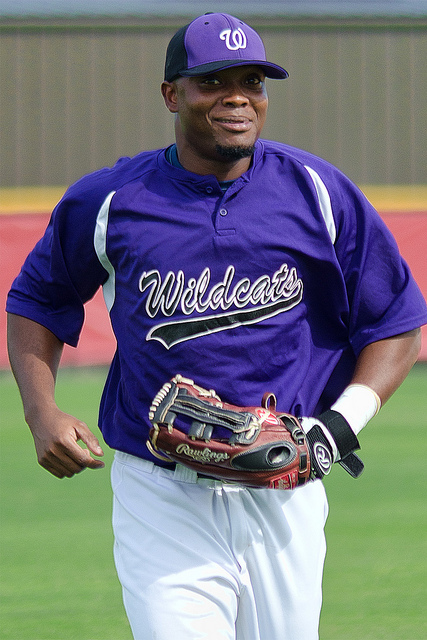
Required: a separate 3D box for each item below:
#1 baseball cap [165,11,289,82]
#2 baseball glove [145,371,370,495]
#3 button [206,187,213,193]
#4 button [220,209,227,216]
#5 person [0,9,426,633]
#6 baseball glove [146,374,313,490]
[{"bbox_3d":[0.007,-0.710,2.400,0.254,0.178,0.338,-6,12,-34],"label":"baseball cap"},{"bbox_3d":[0.111,0.281,2.218,0.540,0.188,0.203,11,52,3],"label":"baseball glove"},{"bbox_3d":[-0.011,-0.335,2.350,0.017,0.015,0.004,12,0,0],"label":"button"},{"bbox_3d":[0.022,-0.271,2.302,0.017,0.015,0.005,-2,-5,-3],"label":"button"},{"bbox_3d":[-0.029,0.008,2.377,1.106,1.577,0.615,1,8,11],"label":"person"},{"bbox_3d":[0.053,0.249,2.250,0.394,0.217,0.154,16,24,9],"label":"baseball glove"}]
